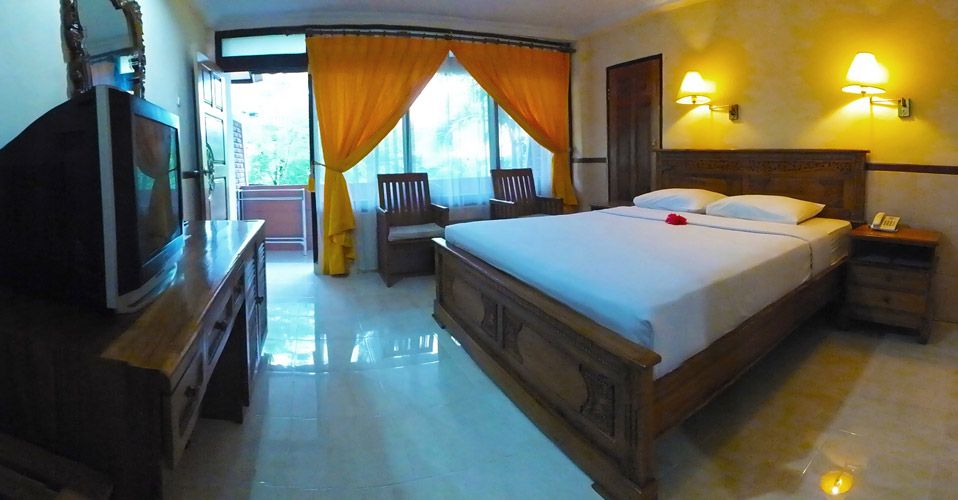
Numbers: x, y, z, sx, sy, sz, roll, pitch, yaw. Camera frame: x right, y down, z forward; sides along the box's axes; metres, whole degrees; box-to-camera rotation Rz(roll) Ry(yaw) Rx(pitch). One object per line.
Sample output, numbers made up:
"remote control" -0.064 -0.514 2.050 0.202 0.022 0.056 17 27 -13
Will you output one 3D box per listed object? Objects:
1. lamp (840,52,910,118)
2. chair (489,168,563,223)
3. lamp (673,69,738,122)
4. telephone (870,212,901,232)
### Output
"lamp" 3.793 -1.569 5.553 0.586 0.515 0.402 20 27 33
"chair" 0.489 -0.744 7.593 0.887 1.022 0.755 -5 8 -25
"lamp" 2.531 -1.749 6.640 0.742 0.532 0.507 2 1 -10
"telephone" 3.784 -0.257 5.421 0.210 0.068 0.227 8 49 50
